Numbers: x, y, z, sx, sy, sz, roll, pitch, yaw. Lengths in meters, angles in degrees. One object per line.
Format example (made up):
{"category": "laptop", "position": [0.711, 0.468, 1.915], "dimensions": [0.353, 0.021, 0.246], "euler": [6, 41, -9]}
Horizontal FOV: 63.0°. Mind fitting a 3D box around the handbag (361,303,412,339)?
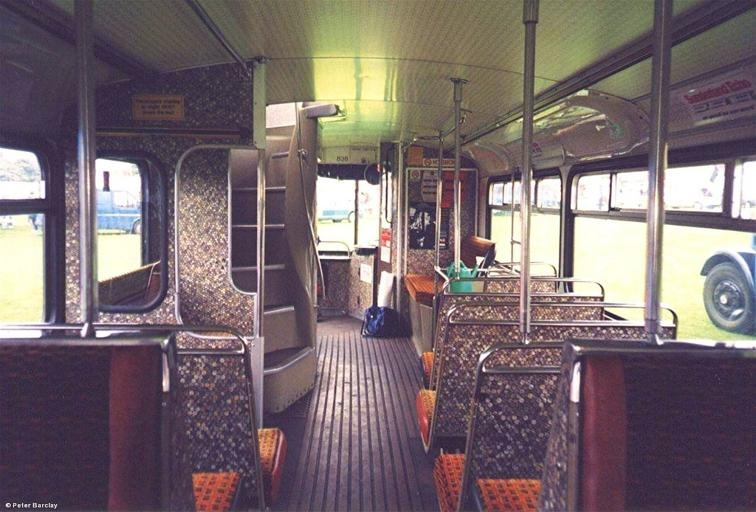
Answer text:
{"category": "handbag", "position": [0.124, 1.025, 9.231], "dimensions": [0.590, 0.455, 0.264], "euler": [7, -18, 6]}
